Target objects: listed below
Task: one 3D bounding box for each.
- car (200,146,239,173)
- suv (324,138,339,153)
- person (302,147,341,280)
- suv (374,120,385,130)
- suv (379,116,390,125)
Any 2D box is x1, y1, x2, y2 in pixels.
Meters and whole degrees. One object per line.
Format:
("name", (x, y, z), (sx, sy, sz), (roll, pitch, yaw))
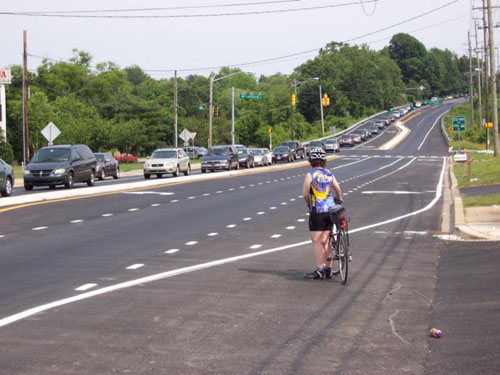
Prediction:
("car", (-1.989, -1.927, 45.934), (1.908, 1.794, 4.571), (-2, 4, 7))
("suv", (8.635, -4.469, 74.183), (1.268, 1.308, 2.926), (0, -1, 12))
("person", (1.286, 0.475, 12.753), (0.796, 2.328, 0.652), (0, -4, -28))
("suv", (21.973, -10.735, 119.133), (1.347, 1.335, 2.603), (-1, 2, 7))
("suv", (24.429, -12.135, 126.194), (1.379, 1.222, 3.463), (0, -2, 8))
